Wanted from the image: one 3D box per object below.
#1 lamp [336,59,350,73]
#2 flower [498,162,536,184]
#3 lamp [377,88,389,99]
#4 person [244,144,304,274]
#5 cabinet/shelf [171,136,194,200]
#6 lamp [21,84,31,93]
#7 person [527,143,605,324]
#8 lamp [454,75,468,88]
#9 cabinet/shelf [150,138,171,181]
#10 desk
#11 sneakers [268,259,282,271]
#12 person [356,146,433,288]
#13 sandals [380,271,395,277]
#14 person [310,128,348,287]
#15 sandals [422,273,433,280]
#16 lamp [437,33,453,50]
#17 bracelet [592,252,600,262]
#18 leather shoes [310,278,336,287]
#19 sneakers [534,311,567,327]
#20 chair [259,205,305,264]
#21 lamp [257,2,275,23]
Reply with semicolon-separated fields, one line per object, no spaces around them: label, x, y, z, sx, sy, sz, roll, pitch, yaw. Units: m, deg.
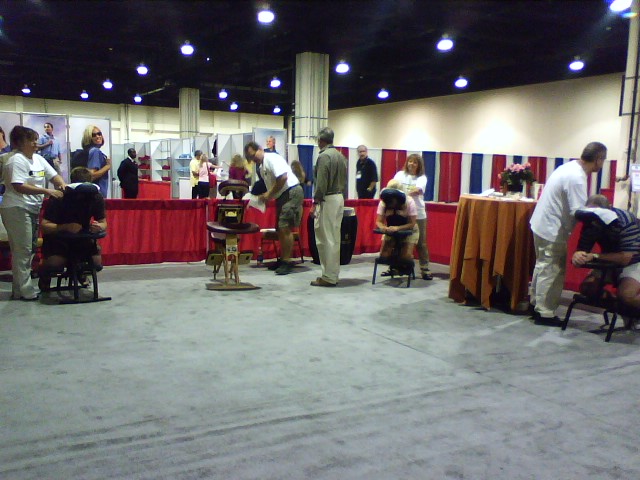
lamp;0.507;-4.200;11.843;0.273;0.248;0.389;1;9;-4
flower;2.110;-0.696;5.240;0.259;0.170;0.281;2;1;-16
lamp;2.057;-4.858;16.240;0.334;0.278;0.455;2;9;5
person;-0.583;-0.462;6.545;0.737;1.726;0.670;-2;5;11
cabinet/shelf;-3.953;-2.080;14.027;0.658;1.653;3.391;-2;10;-17
lamp;-10.342;-5.271;17.170;0.251;0.224;0.407;1;10;-12
person;2.325;-0.081;4.698;0.615;1.723;0.602;-1;14;-12
lamp;3.804;-4.289;13.382;0.365;0.089;0.378;1;6;38
cabinet/shelf;-5.179;-2.580;15.865;0.995;1.270;0.318;8;12;36
desk;1.577;-0.041;5.304;0.857;0.840;0.834;-6;16;-44
sneakers;-0.645;0.351;6.902;0.143;0.198;0.194;0;0;0
person;1.207;-0.302;6.442;0.573;1.623;0.790;3;10;12
sandals;0.874;0.450;6.456;0.175;0.072;0.073;1;-4;19
person;0.095;-0.400;5.947;0.392;1.872;0.561;1;10;-1
sandals;1.402;0.481;6.459;0.132;0.080;0.150;3;10;10
lamp;2.451;-3.929;9.725;0.276;0.287;0.411;3;10;12
bracelet;2.340;0.148;4.200;0.079;0.062;0.034;0;10;-11
leather shoes;0.025;0.523;5.924;0.299;0.124;0.114;3;2;15
sneakers;2.175;0.743;4.684;0.306;0.214;0.109;-5;6;4
chair;-0.580;0.078;7.356;0.675;1.057;0.563;2;2;-14
lamp;-0.910;-3.811;8.162;0.210;0.364;0.472;1;10;-3
